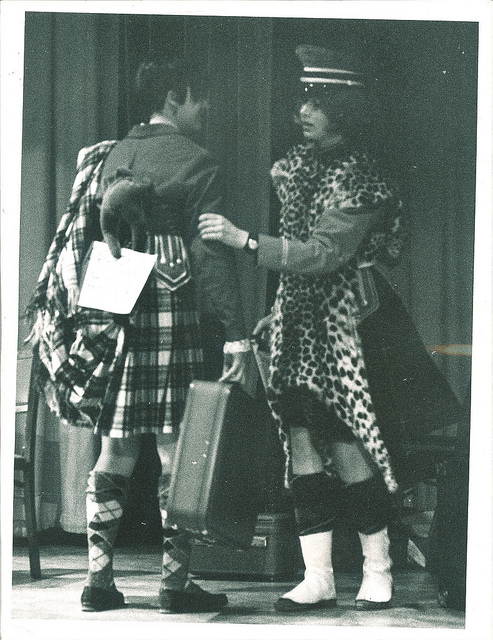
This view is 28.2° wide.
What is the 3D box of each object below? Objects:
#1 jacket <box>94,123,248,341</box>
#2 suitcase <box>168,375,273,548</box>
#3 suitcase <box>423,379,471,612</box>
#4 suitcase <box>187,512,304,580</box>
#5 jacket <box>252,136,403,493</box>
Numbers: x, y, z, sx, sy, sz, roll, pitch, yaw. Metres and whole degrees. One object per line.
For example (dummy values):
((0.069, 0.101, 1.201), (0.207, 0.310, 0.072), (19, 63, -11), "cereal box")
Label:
((-0.268, -0.277, 3.376), (0.432, 0.735, 0.438), (0, 6, -7), "jacket")
((-0.086, 0.467, 3.061), (0.186, 0.542, 0.347), (4, -23, 27), "suitcase")
((0.668, 0.651, 3.223), (0.170, 0.532, 0.202), (0, 1, 13), "suitcase")
((0.055, 0.722, 3.316), (0.416, 0.217, 0.400), (1, -1, 15), "suitcase")
((0.261, -0.062, 3.276), (0.420, 1.256, 0.407), (3, 5, 38), "jacket")
